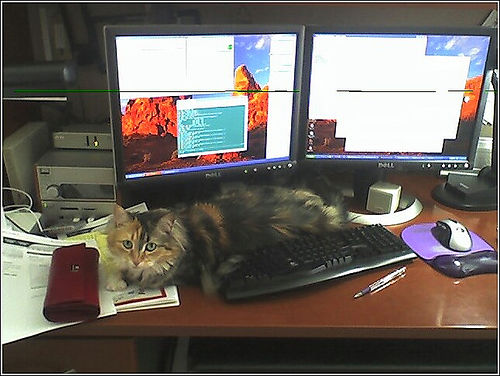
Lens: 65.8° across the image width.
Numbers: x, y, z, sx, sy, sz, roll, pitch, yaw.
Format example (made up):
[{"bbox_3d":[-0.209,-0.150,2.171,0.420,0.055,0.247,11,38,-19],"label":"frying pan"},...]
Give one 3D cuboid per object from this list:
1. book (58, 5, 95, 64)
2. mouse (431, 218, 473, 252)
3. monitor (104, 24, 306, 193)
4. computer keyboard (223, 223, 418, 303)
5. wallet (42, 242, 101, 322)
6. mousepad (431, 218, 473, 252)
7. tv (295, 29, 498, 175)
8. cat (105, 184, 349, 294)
[{"bbox_3d":[-0.405,-0.362,0.908,0.063,0.131,0.075,-8,24,-20],"label":"book"},{"bbox_3d":[0.563,0.128,1.098,0.072,0.035,0.097,3,26,-22],"label":"mouse"},{"bbox_3d":[-0.110,-0.218,1.095,0.547,0.468,0.066,-7,24,-20],"label":"monitor"},{"bbox_3d":[0.187,0.179,1.023,0.469,0.062,0.187,-9,19,-14],"label":"computer keyboard"},{"bbox_3d":[-0.398,0.208,0.882,0.118,0.060,0.183,0,41,-16],"label":"wallet"},{"bbox_3d":[0.576,0.116,1.105,0.095,0.052,0.141,-4,27,-7],"label":"mousepad"},{"bbox_3d":[0.423,-0.274,1.148,0.441,0.318,0.048,0,23,-1],"label":"tv"},{"bbox_3d":[-0.029,0.082,1.040,0.586,0.220,0.282,-16,22,-7],"label":"cat"}]
